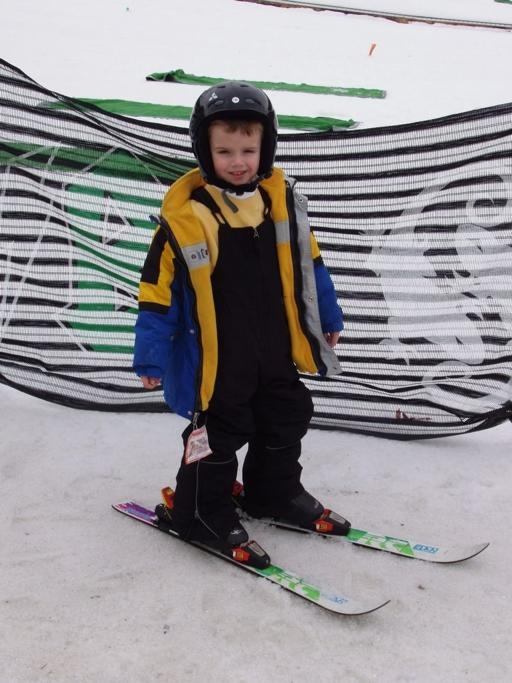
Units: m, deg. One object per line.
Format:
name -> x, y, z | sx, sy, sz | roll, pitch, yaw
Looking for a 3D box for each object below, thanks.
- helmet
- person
helmet -> -0.068, -0.662, 2.118 | 0.287, 0.331, 0.230 | 5, -1, -7
person -> -0.055, -0.047, 2.342 | 0.450, 1.494, 0.706 | 4, -1, 43
